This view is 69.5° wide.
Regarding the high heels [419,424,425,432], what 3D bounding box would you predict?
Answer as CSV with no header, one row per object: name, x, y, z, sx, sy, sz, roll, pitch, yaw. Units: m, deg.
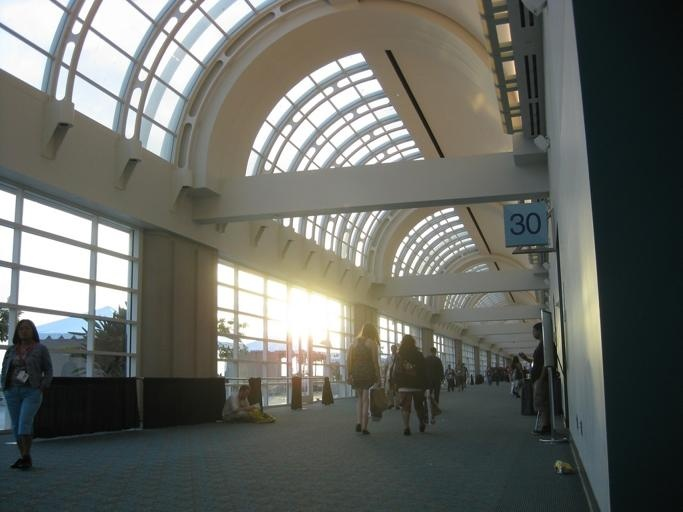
high heels,1.886,3.934,11.343,0.129,0.198,0.190,1,-22,3

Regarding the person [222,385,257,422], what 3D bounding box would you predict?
person,-3.083,4.777,15.790,1.010,1.357,1.033,-6,-28,11

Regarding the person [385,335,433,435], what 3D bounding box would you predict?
person,1.547,2.887,11.162,0.797,2.171,0.938,-7,-11,23

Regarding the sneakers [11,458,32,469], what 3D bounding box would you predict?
sneakers,-4.867,3.125,7.466,0.329,0.159,0.136,1,-21,10

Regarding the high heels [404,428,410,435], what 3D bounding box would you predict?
high heels,1.456,3.854,10.895,0.146,0.135,0.397,-6,-13,7
